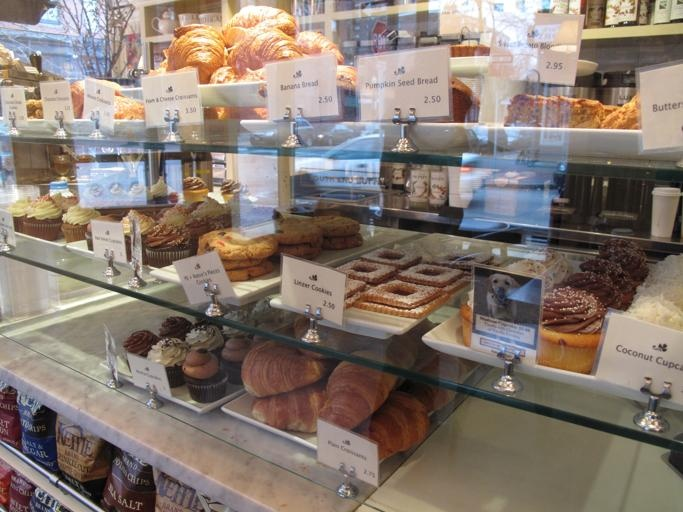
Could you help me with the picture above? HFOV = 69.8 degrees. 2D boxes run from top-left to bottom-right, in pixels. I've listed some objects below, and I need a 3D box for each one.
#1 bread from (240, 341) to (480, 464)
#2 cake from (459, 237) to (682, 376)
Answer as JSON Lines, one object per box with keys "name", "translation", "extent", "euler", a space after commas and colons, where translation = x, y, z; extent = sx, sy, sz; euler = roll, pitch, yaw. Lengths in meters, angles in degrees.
{"name": "bread", "translation": [0.048, 0.365, 1.208], "extent": [0.397, 0.097, 0.339], "euler": [7, 11, 30]}
{"name": "cake", "translation": [0.526, 0.087, 1.027], "extent": [0.276, 0.102, 0.344], "euler": [5, 8, 31]}
